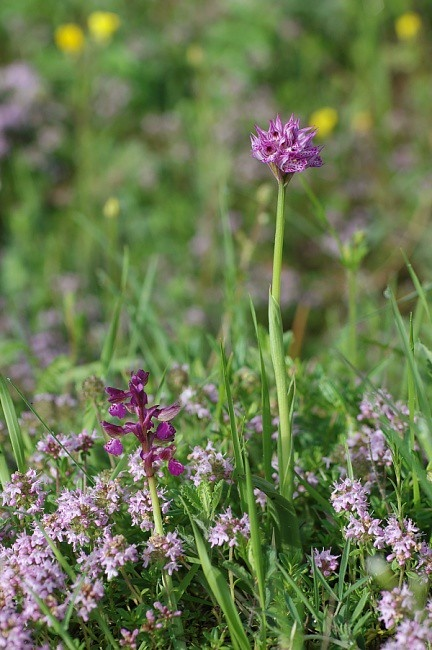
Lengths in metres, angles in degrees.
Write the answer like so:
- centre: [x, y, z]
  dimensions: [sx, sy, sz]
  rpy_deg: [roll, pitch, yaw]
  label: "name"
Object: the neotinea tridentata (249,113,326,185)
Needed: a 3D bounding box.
- centre: [0.125, -0.297, 1.168]
  dimensions: [0.127, 0.117, 0.118]
  rpy_deg: [-4, 4, -26]
  label: "neotinea tridentata"
